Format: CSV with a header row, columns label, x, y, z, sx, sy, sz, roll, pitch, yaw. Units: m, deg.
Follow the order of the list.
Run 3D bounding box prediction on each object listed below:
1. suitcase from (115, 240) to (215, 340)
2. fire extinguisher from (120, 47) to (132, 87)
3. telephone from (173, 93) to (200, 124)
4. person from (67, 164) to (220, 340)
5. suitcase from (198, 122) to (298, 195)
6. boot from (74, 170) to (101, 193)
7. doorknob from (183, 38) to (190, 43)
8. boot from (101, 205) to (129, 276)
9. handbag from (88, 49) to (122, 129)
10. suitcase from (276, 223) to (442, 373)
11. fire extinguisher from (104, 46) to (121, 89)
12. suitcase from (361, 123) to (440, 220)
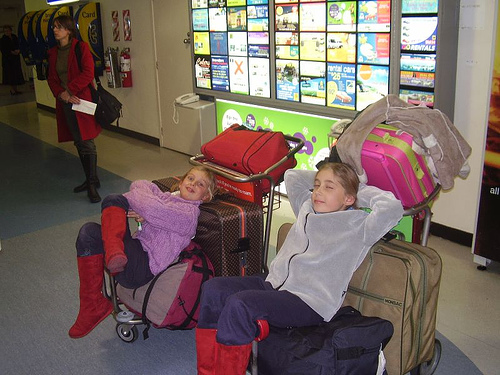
label,x,y,z,sx,sy,sz,roll,pitch,yaw
suitcase,-0.663,0.696,2.807,0.600,0.578,0.615,18,-3,11
fire extinguisher,-2.220,-2.112,7.120,0.177,0.593,0.096,-1,17,-10
telephone,-0.954,-1.129,5.807,0.422,0.587,0.421,-4,19,-22
person,-0.761,0.375,2.685,0.874,1.323,0.498,26,-9,-41
suitcase,-0.005,-0.355,3.477,0.820,0.309,0.780,14,26,39
boot,-2.174,-0.056,5.363,0.443,0.331,0.154,-4,13,-30
doorknob,-0.930,-2.132,5.768,0.066,0.073,0.041,0,12,-5
boot,-0.850,0.303,2.495,0.162,0.165,0.588,-4,33,-18
handbag,-1.891,-1.239,5.148,0.286,1.014,0.422,-16,0,2
suitcase,0.644,0.520,2.383,0.541,0.855,1.043,-5,13,-39
fire extinguisher,-2.544,-2.206,7.361,0.252,0.736,0.321,-4,18,-19
suitcase,0.839,-0.110,2.253,0.282,0.520,0.348,-45,31,-17
